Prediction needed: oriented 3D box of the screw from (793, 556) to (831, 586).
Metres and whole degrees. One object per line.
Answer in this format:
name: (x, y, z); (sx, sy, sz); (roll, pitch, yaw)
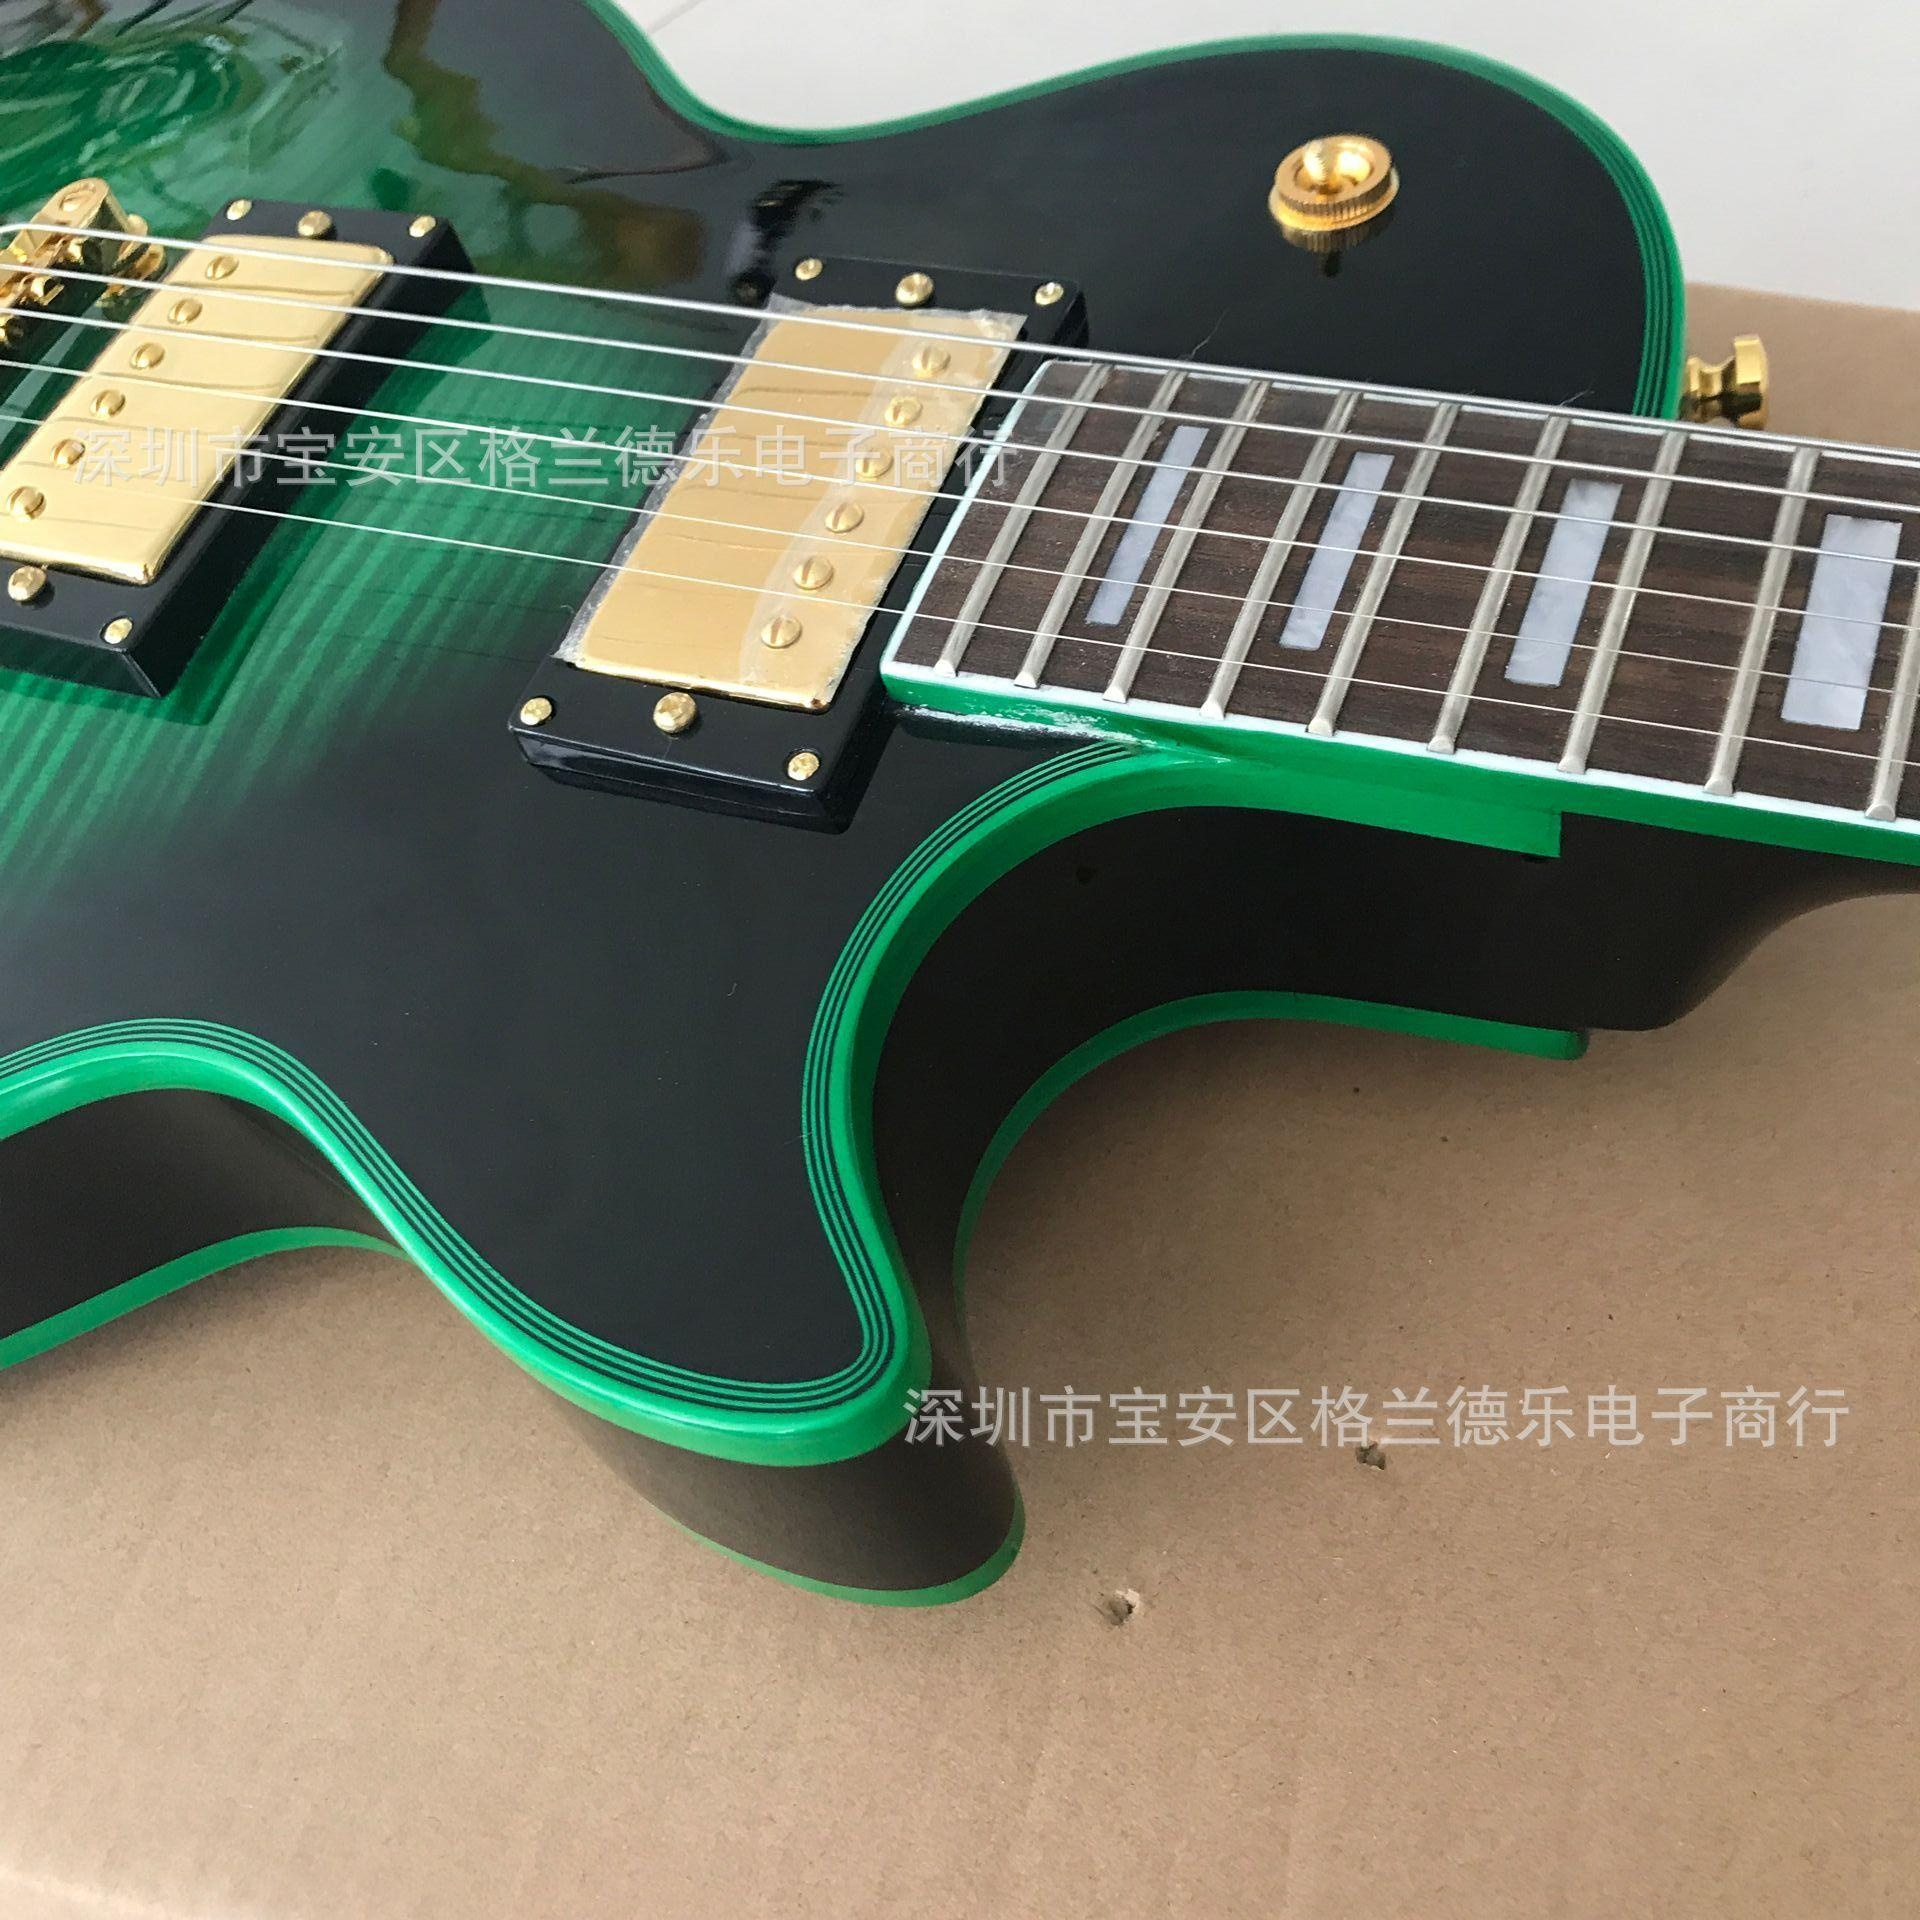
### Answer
screw: (-0.082, -0.214, 1.144); (0.019, 0.008, 0.021); (6, 53, 25)

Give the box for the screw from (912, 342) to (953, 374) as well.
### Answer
screw: (-0.016, -0.352, 1.211); (0.022, 0.008, 0.019); (15, 72, 26)

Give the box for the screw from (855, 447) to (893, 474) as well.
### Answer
screw: (-0.050, -0.283, 1.173); (0.021, 0.006, 0.025); (-6, 49, 15)

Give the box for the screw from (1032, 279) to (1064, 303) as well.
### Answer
screw: (0.052, -0.397, 1.227); (0.013, 0.004, 0.016); (35, 68, 18)

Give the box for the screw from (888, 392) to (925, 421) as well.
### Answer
screw: (-0.034, -0.317, 1.193); (0.020, 0.006, 0.027); (0, 51, 21)

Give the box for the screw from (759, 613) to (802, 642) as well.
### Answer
screw: (-0.100, -0.182, 1.133); (0.017, 0.006, 0.016); (42, 88, 13)

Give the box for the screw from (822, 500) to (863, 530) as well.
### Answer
screw: (-0.065, -0.248, 1.157); (0.019, 0.006, 0.023); (14, 57, 29)
